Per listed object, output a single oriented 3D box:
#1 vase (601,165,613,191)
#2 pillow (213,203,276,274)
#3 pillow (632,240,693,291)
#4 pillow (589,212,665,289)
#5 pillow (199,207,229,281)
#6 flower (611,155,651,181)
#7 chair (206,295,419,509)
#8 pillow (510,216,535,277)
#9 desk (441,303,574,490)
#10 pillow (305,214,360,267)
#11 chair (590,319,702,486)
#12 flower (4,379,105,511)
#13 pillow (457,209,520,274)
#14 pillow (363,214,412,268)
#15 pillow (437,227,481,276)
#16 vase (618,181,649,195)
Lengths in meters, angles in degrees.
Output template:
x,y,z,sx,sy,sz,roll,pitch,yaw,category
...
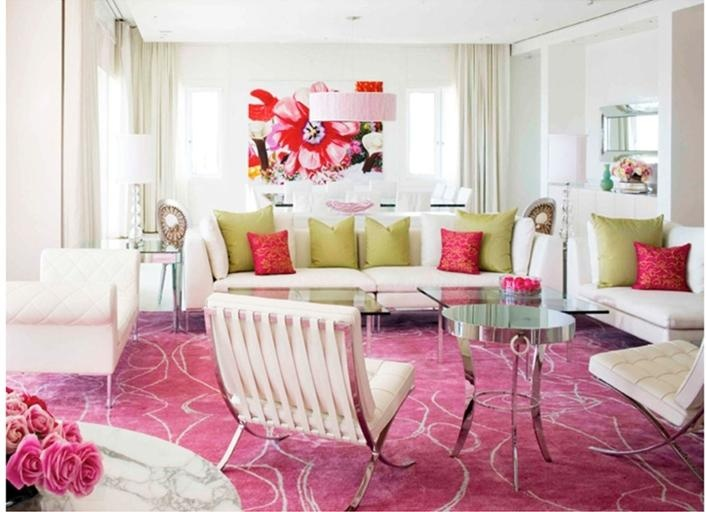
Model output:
x,y,z,sx,sy,sz,roll,pitch,yaw,category
4.001,-1.263,8.226,0.180,0.407,0.529,4,9,25,vase
-1.093,-0.202,5.537,0.681,0.680,0.245,-16,13,-37,pillow
2.743,0.087,4.634,0.386,0.381,0.147,4,-6,15,pillow
2.525,-0.042,4.820,0.638,0.660,0.234,0,-11,3,pillow
-1.367,-0.114,5.221,0.154,0.531,0.517,-13,18,3,pillow
4.106,-1.314,7.720,0.414,0.362,0.429,-3,11,10,flower
-0.235,0.476,2.856,1.048,1.048,0.925,2,7,25,chair
1.750,-0.139,5.445,0.157,0.543,0.519,3,1,-20,pillow
0.920,0.787,3.106,0.767,0.892,0.752,15,-22,-40,desk
-0.229,-0.158,5.626,0.533,0.592,0.217,-3,-4,-3,pillow
1.665,0.664,2.860,0.673,0.755,0.706,-3,1,-44,chair
-0.898,0.570,1.552,0.234,0.296,0.345,-6,10,-35,flower
1.428,-0.163,5.635,0.688,0.688,0.246,5,4,41,pillow
0.374,-0.157,5.648,0.547,0.620,0.232,1,-6,2,pillow
1.117,-0.055,5.411,0.422,0.433,0.157,7,-6,18,pillow
4.147,-1.011,7.707,0.297,0.185,0.389,-5,7,-30,vase
